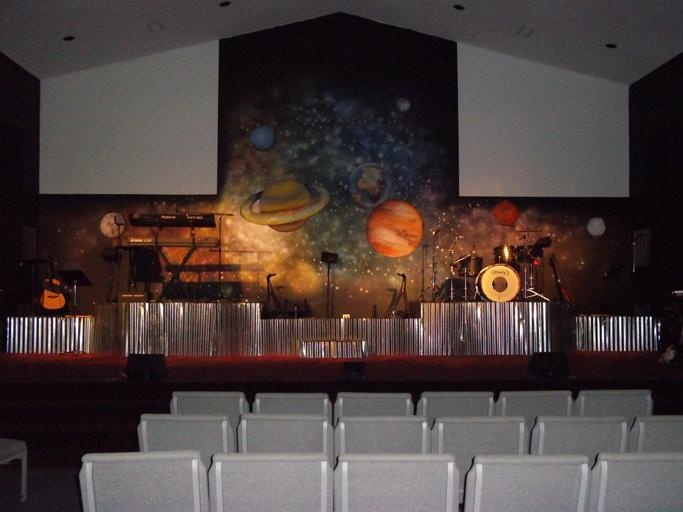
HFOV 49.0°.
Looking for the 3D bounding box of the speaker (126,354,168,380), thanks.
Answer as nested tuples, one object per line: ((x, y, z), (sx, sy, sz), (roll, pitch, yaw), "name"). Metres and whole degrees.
((-2.344, 1.332, 8.979), (0.467, 0.305, 0.262), (2, -4, -11), "speaker")

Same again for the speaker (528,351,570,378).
((2.564, 1.330, 9.200), (0.479, 0.288, 0.357), (2, 7, 2), "speaker")

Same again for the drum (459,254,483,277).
((2.142, 0.165, 12.309), (0.320, 0.260, 0.338), (1, -2, 0), "drum")

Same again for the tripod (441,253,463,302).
((1.921, 0.464, 12.640), (0.524, 0.830, 0.577), (0, 1, -5), "tripod")

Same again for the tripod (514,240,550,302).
((3.216, 0.211, 12.543), (0.583, 1.069, 1.045), (0, -4, 16), "tripod")

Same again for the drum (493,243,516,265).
((2.666, -0.027, 12.249), (0.290, 0.239, 0.306), (0, -2, 0), "drum")

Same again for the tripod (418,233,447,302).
((1.540, 0.159, 12.990), (0.299, 1.345, 0.280), (1, 2, -5), "tripod")
